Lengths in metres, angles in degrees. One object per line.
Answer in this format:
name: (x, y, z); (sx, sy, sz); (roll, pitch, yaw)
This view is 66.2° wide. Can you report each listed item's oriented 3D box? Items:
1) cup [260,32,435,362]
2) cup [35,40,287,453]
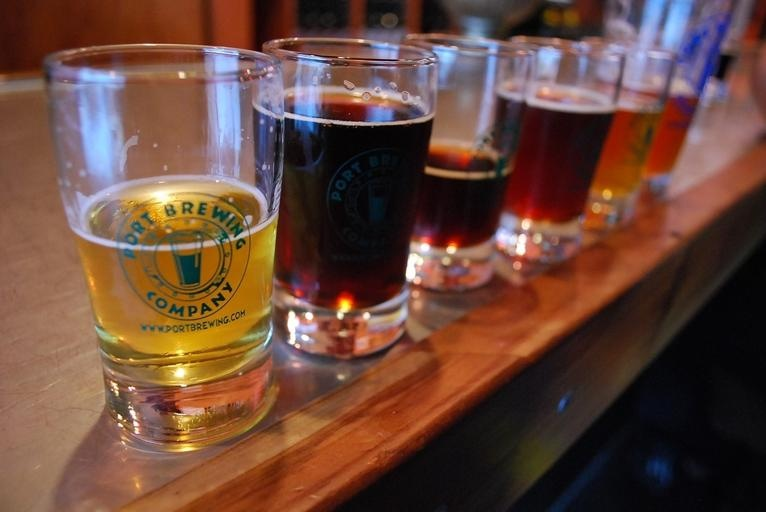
cup: (-0.032, -0.054, 0.626); (0.174, 0.304, 0.143); (-1, 30, -5)
cup: (-0.184, -0.009, 0.535); (0.192, 0.326, 0.191); (1, 29, -1)
